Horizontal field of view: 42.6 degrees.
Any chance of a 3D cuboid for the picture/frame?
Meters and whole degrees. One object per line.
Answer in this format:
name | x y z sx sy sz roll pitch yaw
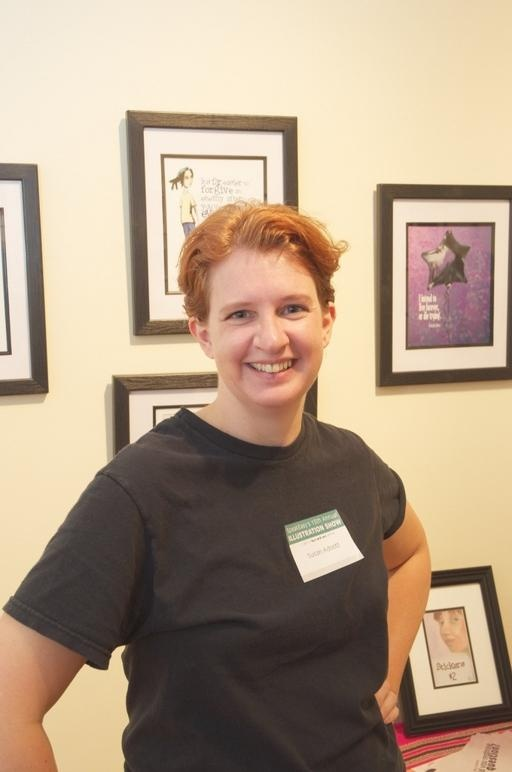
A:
picture/frame | -0.032 0.002 1.385 1.648 1.244 0.045 -3 4 -13
